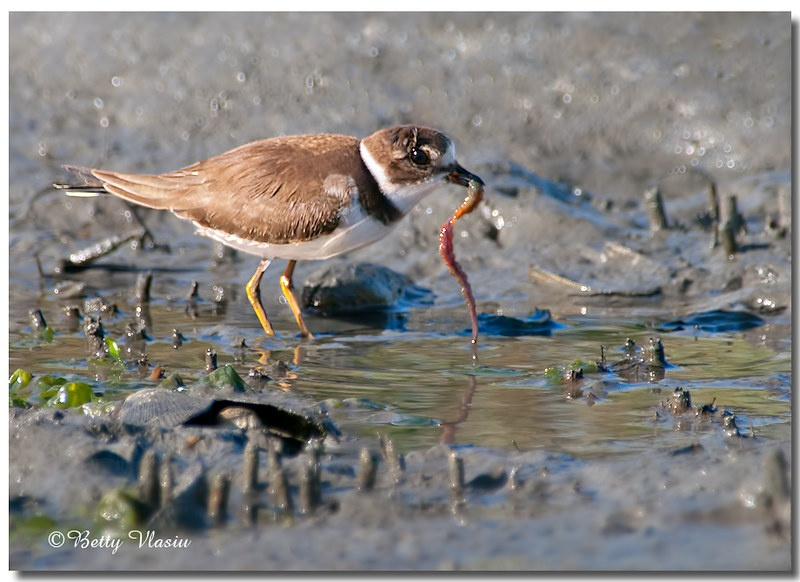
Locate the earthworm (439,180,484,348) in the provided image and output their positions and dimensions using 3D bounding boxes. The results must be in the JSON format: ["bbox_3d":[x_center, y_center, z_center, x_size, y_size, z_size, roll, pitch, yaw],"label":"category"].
[{"bbox_3d":[0.457,-0.145,6.458,0.299,0.299,1.312,-7,-67,-18],"label":"earthworm"}]

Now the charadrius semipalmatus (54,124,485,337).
[{"bbox_3d":[-1.053,-0.532,7.059,3.569,1.395,1.824,8,-68,15],"label":"charadrius semipalmatus"}]
